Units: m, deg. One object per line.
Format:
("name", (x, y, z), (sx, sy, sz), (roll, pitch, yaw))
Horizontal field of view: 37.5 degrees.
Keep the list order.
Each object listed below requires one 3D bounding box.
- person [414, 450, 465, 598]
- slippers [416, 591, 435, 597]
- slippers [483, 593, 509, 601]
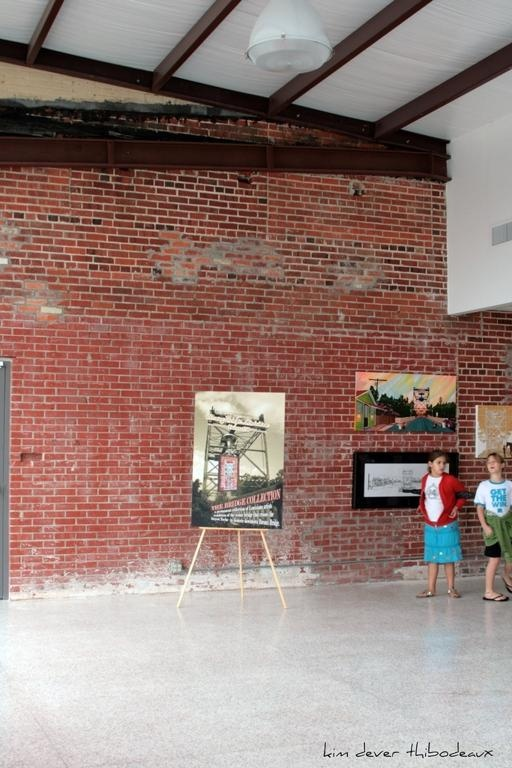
("person", (1.771, 1.324, 7.210), (0.452, 1.351, 0.424), (-1, -6, 14))
("slippers", (1.595, 1.963, 7.042), (0.127, 0.052, 0.065), (4, -8, -5))
("slippers", (2.167, 1.935, 6.815), (0.089, 0.042, 0.147), (1, -9, -29))
